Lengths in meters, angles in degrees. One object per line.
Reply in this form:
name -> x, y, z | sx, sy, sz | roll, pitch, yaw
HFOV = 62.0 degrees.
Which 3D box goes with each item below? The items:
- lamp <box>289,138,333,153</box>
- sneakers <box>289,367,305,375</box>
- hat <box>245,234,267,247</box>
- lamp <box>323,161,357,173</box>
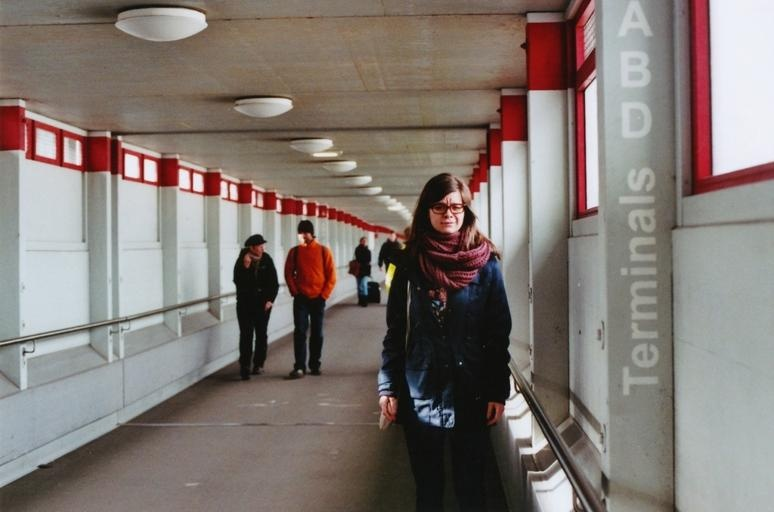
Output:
lamp -> -1.238, -1.821, 10.518 | 0.651, 0.201, 0.349 | -2, 3, -1
sneakers -> -1.304, 1.672, 9.412 | 0.211, 0.155, 0.245 | -3, 3, -9
hat -> -1.933, -0.234, 9.451 | 0.252, 0.161, 0.357 | -3, 3, -12
lamp -> -0.908, -1.759, 12.548 | 0.356, 0.131, 0.360 | -2, 1, 10
